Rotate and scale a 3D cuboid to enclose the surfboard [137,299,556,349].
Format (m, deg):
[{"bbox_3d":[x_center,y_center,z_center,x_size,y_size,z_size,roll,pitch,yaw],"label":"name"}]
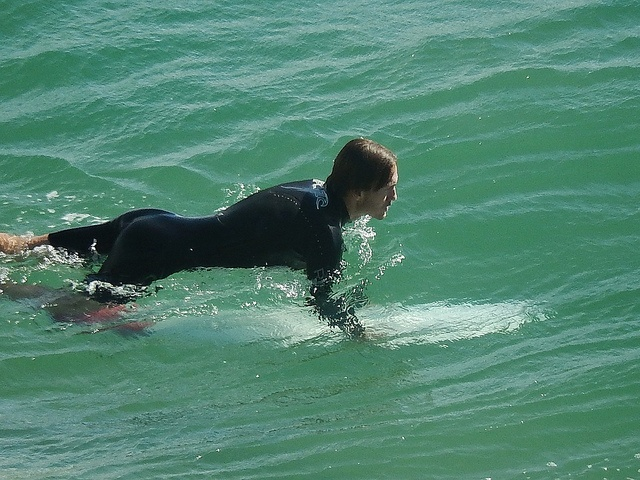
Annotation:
[{"bbox_3d":[0.167,0.835,11.428,3.721,0.193,0.506,-1,5,-6],"label":"surfboard"}]
